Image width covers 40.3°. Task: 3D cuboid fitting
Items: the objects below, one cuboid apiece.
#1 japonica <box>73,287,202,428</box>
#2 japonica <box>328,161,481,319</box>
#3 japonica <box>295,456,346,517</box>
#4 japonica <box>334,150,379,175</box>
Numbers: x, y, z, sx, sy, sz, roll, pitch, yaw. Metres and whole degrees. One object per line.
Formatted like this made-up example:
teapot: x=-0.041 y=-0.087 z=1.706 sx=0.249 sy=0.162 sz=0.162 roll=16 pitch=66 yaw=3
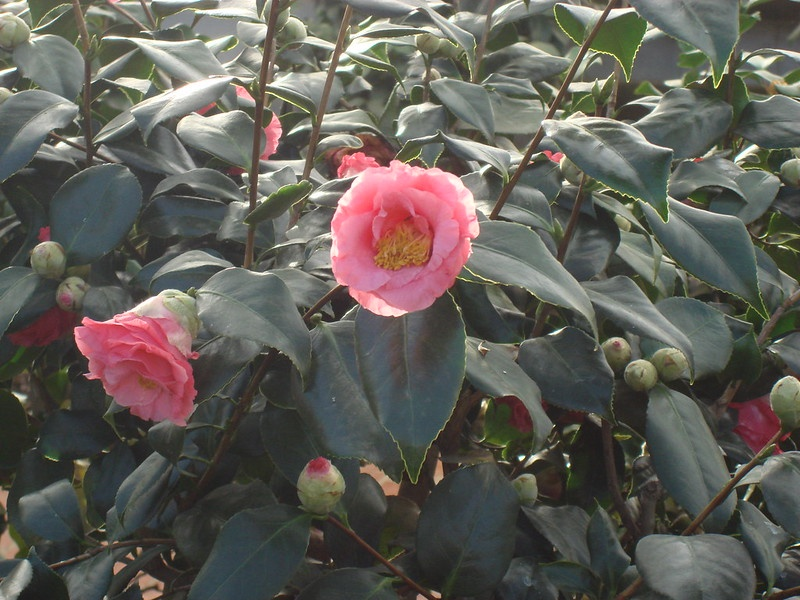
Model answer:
japonica: x=-0.329 y=0.067 z=1.371 sx=0.140 sy=0.171 sz=0.102 roll=15 pitch=26 yaw=-6
japonica: x=0.001 y=-0.077 z=1.314 sx=0.145 sy=0.067 sz=0.147 roll=11 pitch=-17 yaw=30
japonica: x=-0.099 y=0.230 z=1.359 sx=0.052 sy=0.080 sz=0.055 roll=-20 pitch=28 yaw=-36
japonica: x=-0.060 y=-0.203 z=1.633 sx=0.070 sy=0.043 sz=0.074 roll=-2 pitch=8 yaw=2
